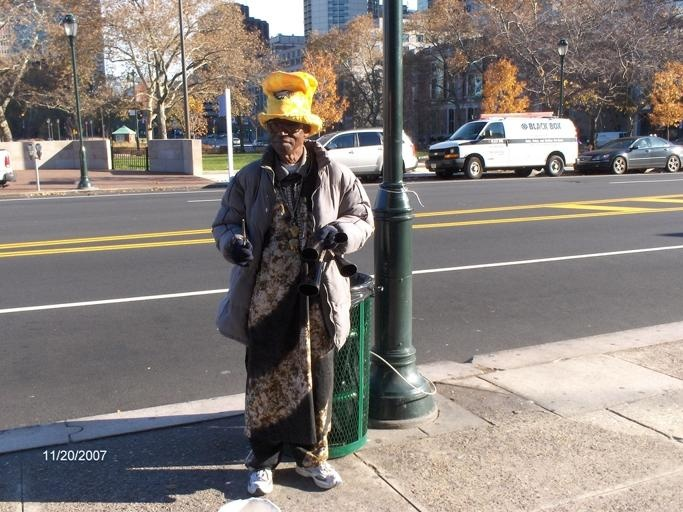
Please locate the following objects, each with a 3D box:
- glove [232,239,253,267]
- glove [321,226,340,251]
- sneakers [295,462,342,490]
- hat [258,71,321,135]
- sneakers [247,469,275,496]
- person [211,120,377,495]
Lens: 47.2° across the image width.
[{"bbox_3d":[-0.657,-0.014,5.339,0.156,0.181,0.127,6,11,37],"label":"glove"},{"bbox_3d":[-0.082,-0.128,5.390,0.136,0.146,0.185,-1,14,-3],"label":"glove"},{"bbox_3d":[-0.162,1.554,5.615,0.307,0.170,0.154,6,9,29],"label":"sneakers"},{"bbox_3d":[-0.372,-1.131,5.603,0.446,0.367,0.461,-4,5,-19],"label":"hat"},{"bbox_3d":[-0.568,1.601,5.572,0.196,0.147,0.166,-5,14,-15],"label":"sneakers"},{"bbox_3d":[-0.347,0.340,5.600,1.078,2.566,0.667,-3,12,-10],"label":"person"}]
